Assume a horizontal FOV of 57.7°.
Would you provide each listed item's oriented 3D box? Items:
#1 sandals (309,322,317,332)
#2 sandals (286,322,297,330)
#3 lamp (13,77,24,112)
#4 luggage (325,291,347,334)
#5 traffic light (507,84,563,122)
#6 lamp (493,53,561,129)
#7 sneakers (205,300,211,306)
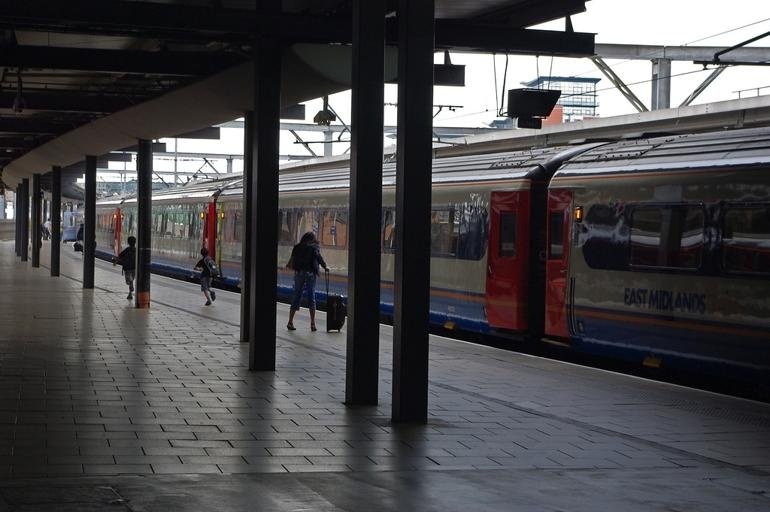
[{"bbox_3d":[-1.642,1.609,15.795,0.154,0.215,0.532,0,-3,-7],"label":"sandals"},{"bbox_3d":[-2.097,1.587,15.594,0.191,0.145,0.106,0,3,5],"label":"sandals"},{"bbox_3d":[-8.789,-3.887,16.707,0.187,0.867,3.072,-1,8,-28],"label":"lamp"},{"bbox_3d":[-1.108,1.295,15.990,0.646,1.263,0.829,1,1,-4],"label":"luggage"},{"bbox_3d":[3.360,-3.503,16.039,1.170,0.720,0.445,1,6,-10],"label":"traffic light"},{"bbox_3d":[2.987,-3.874,16.206,1.526,1.824,1.055,-9,11,-24],"label":"lamp"},{"bbox_3d":[-5.043,1.335,19.873,0.215,0.155,0.074,10,11,38],"label":"sneakers"}]
